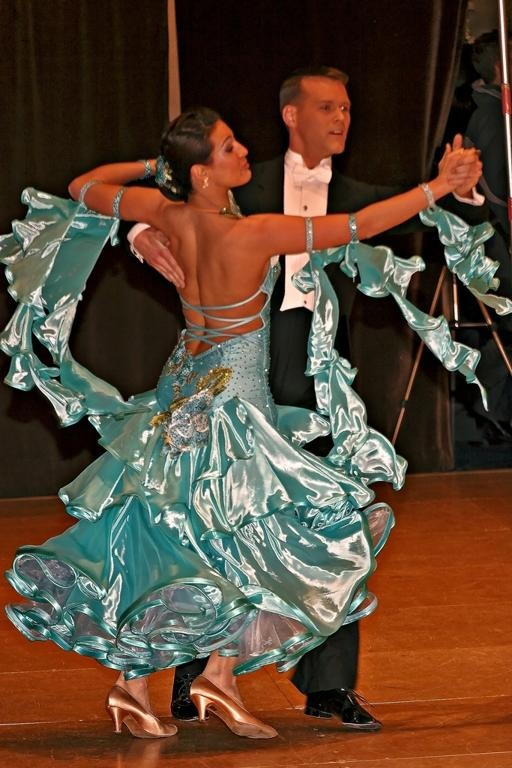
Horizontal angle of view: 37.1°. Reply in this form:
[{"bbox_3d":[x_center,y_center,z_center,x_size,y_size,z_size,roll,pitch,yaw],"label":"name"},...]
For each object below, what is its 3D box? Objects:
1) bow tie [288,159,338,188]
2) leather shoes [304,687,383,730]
[{"bbox_3d":[0.134,-0.521,1.889,0.095,0.045,0.069,2,-3,-4],"label":"bow tie"},{"bbox_3d":[0.191,0.723,1.735,0.181,0.067,0.066,0,-2,40],"label":"leather shoes"}]
